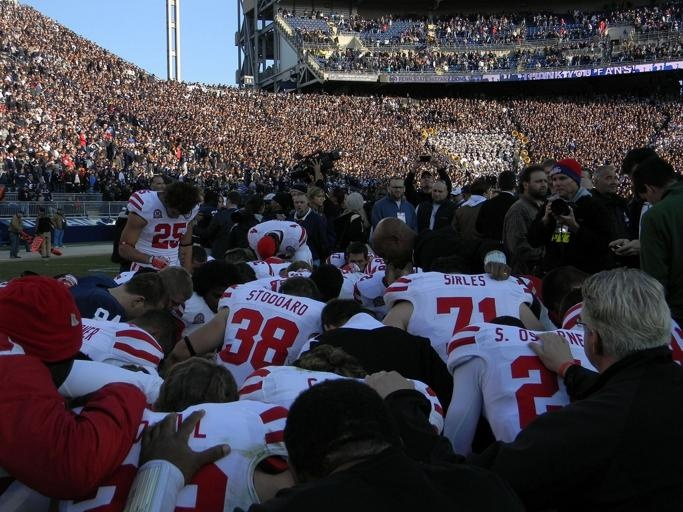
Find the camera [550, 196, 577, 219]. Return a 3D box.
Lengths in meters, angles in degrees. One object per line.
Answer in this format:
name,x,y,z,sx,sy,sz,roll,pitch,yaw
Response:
camera,1.666,-0.375,5.711,0.159,0.132,0.103,6,6,18

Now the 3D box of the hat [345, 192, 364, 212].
hat,0.160,-0.645,8.862,0.206,0.212,0.340,4,6,-1

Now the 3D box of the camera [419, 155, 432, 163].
camera,1.124,-1.329,10.156,0.166,0.102,0.121,-1,-1,8

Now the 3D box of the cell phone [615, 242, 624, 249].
cell phone,1.883,-0.076,5.092,0.045,0.038,0.202,6,7,19

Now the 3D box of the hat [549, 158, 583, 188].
hat,1.864,-0.710,6.228,0.232,0.211,0.373,6,6,14
